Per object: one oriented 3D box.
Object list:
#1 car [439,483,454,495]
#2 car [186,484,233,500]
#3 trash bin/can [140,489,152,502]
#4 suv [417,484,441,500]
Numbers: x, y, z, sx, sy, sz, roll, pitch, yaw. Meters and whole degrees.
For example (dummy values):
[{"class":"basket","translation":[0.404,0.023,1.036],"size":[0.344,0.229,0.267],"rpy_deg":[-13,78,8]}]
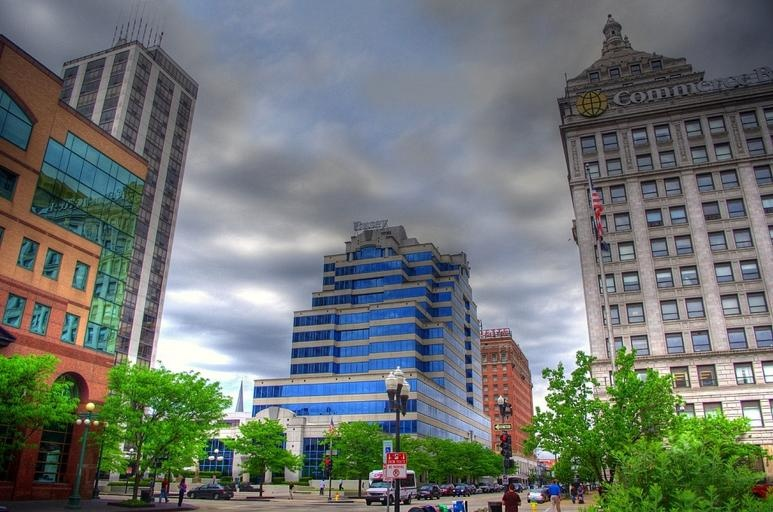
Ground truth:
[{"class":"car","translation":[8.858,33.851,82.944],"size":[1.573,1.203,2.371],"rpy_deg":[-7,-35,16]},{"class":"car","translation":[-21.017,28.293,68.650],"size":[6.975,1.858,2.803],"rpy_deg":[-17,-30,34]},{"class":"trash bin/can","translation":[-21.436,21.451,51.090],"size":[0.870,1.083,1.384],"rpy_deg":[13,-28,-24]},{"class":"suv","translation":[5.572,30.686,74.482],"size":[1.524,1.209,3.203],"rpy_deg":[-11,-34,19]}]
